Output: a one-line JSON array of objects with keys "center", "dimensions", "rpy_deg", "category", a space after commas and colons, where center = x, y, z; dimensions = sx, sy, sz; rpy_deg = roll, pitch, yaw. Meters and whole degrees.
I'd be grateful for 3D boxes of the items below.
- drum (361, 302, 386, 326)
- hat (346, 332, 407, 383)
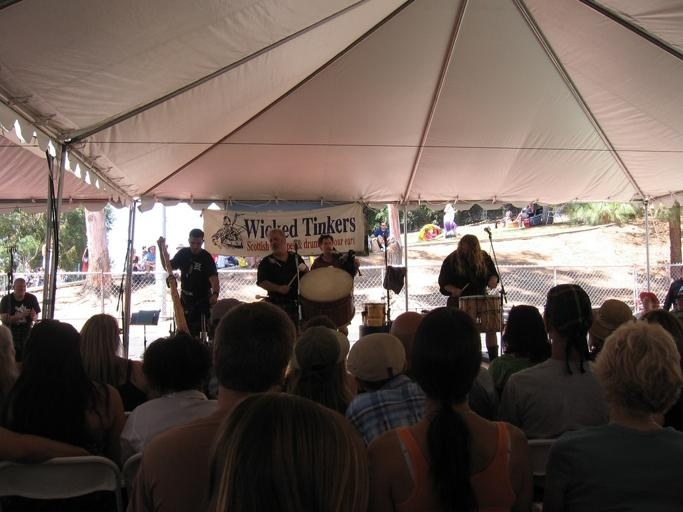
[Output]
[{"center": [0.398, 0.690, 6.488], "dimensions": [0.250, 0.278, 0.274], "rpy_deg": [0, 4, 3], "category": "drum"}, {"center": [0.149, 0.463, 2.405], "dimensions": [0.180, 0.132, 0.249], "rpy_deg": [-5, 18, 14], "category": "hat"}]
